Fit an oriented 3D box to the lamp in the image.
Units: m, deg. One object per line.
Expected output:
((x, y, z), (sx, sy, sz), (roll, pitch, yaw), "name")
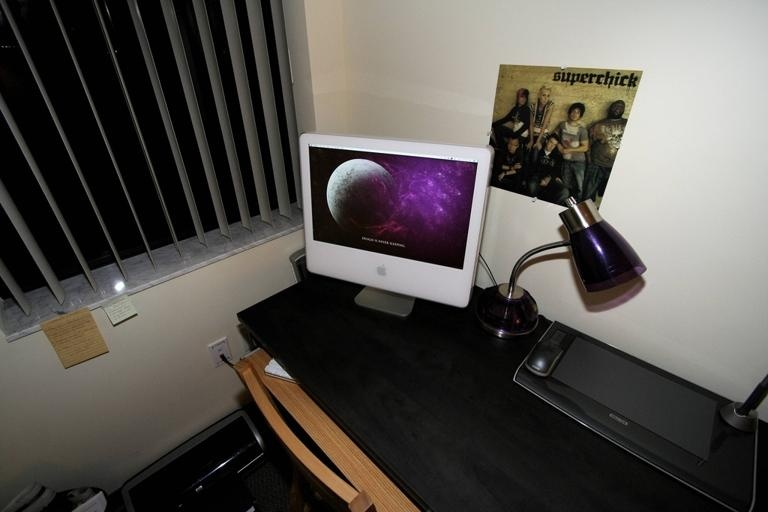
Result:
((0.621, 0.043, 1.631), (0.187, 0.428, 0.386), (-29, 47, -28), "lamp")

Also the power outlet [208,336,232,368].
((-0.719, 0.407, 2.044), (0.014, 0.157, 0.109), (26, 36, 37), "power outlet")

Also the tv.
((0.050, -0.125, 1.706), (0.566, 0.525, 0.186), (13, 29, 16), "tv")
